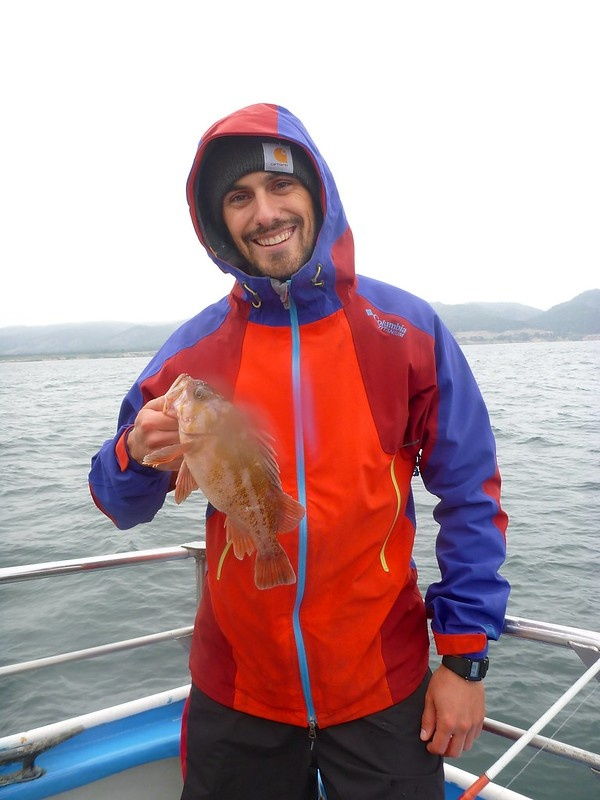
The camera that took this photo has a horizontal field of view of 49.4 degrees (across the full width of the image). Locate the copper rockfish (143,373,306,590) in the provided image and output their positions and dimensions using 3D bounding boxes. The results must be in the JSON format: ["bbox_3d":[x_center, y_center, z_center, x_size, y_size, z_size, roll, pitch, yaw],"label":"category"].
[{"bbox_3d":[-0.256,0.281,2.284,0.529,0.752,0.144,-2,-2,-3],"label":"copper rockfish"}]

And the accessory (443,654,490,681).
[{"bbox_3d":[0.600,0.945,2.352,0.131,0.058,0.097,3,-1,22],"label":"accessory"}]
